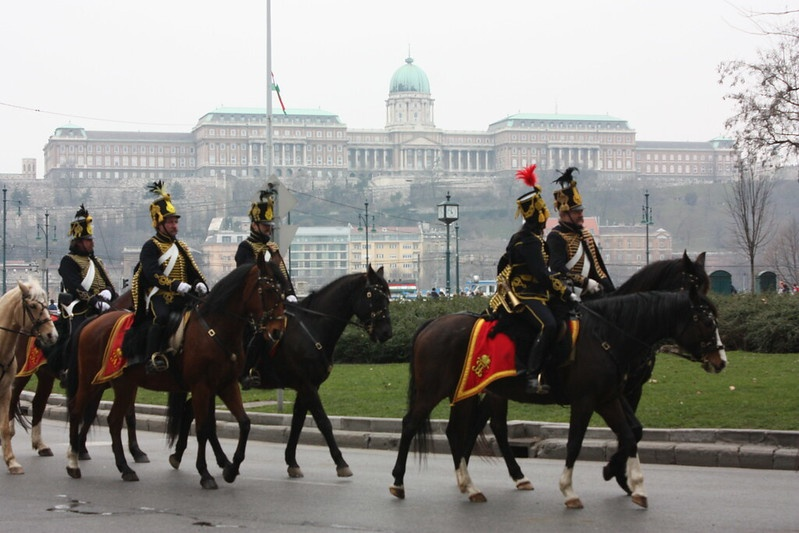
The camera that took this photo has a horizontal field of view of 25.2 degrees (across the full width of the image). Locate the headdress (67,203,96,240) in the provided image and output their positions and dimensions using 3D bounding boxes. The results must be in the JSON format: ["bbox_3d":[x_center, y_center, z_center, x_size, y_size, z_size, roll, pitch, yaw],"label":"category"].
[{"bbox_3d":[-9.357,-1.353,52.108,0.787,1.030,0.867,-12,7,-41],"label":"headdress"}]

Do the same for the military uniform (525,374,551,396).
[{"bbox_3d":[3.712,3.131,47.841,0.793,0.584,0.420,-1,-1,8],"label":"military uniform"}]

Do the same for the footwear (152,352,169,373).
[{"bbox_3d":[-6.666,2.564,49.212,0.480,0.509,0.236,-10,-17,-38],"label":"footwear"}]

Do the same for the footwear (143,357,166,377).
[{"bbox_3d":[-6.737,2.650,49.201,0.692,0.448,0.376,-7,1,18],"label":"footwear"}]
